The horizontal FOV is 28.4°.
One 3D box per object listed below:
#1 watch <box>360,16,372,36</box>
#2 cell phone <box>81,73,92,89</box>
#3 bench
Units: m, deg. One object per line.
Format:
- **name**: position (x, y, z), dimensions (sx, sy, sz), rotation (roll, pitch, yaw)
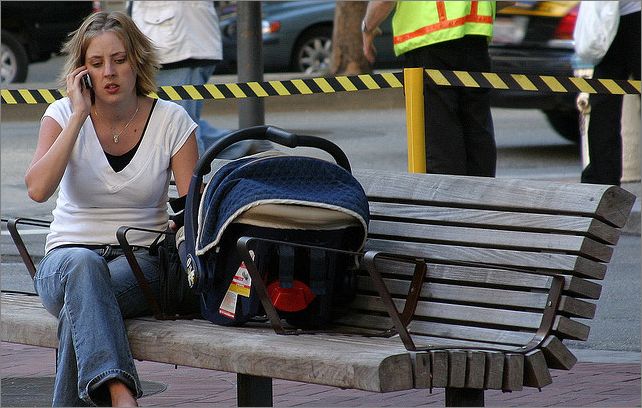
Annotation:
- **watch**: position (0.314, -1.196, 8.569), dimensions (0.067, 0.109, 0.084), rotation (0, 2, 44)
- **cell phone**: position (-1.323, -0.698, 7.191), dimensions (0.044, 0.049, 0.077), rotation (-11, 45, -13)
- **bench**: position (0.250, 0.554, 6.660), dimensions (2.393, 1.370, 1.164), rotation (8, 16, 27)
